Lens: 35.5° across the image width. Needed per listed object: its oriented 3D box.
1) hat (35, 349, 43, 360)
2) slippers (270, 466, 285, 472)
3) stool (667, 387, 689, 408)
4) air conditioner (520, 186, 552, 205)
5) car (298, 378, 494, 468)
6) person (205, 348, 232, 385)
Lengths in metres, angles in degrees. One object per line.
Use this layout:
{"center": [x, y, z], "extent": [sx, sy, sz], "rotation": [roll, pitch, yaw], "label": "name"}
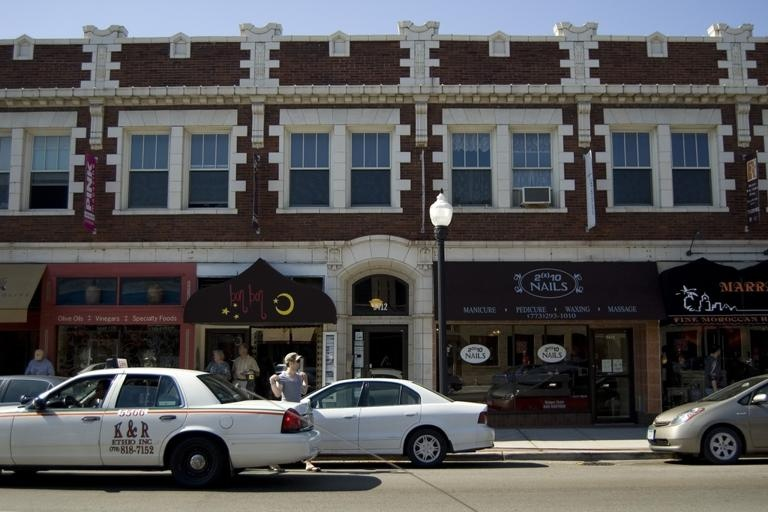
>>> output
{"center": [-9.421, 2.657, 32.482], "extent": [0.216, 0.255, 0.260], "rotation": [-1, -24, -9], "label": "hat"}
{"center": [-2.549, 5.079, 28.579], "extent": [0.424, 0.171, 0.128], "rotation": [-5, -7, 38], "label": "slippers"}
{"center": [8.204, 3.911, 33.171], "extent": [0.583, 0.549, 0.573], "rotation": [0, -8, 4], "label": "stool"}
{"center": [4.246, -1.695, 33.489], "extent": [0.870, 0.457, 0.547], "rotation": [1, 2, 4], "label": "air conditioner"}
{"center": [0.299, 3.946, 29.054], "extent": [5.021, 1.594, 1.897], "rotation": [2, -9, 2], "label": "car"}
{"center": [-4.335, 2.890, 31.317], "extent": [0.759, 1.057, 0.644], "rotation": [-2, -13, -1], "label": "person"}
